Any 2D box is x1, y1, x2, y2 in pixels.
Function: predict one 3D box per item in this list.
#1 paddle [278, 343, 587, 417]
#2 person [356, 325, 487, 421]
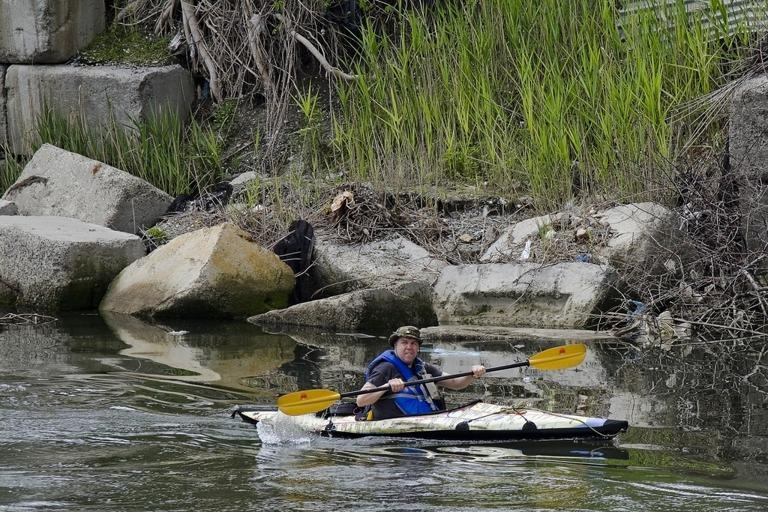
[{"bbox_3d":[0.614,1.504,16.179,3.134,0.370,0.253,-9,-13,-12],"label":"paddle"},{"bbox_3d":[0.436,1.705,15.738,1.365,1.730,0.971,-8,-5,4],"label":"person"}]
